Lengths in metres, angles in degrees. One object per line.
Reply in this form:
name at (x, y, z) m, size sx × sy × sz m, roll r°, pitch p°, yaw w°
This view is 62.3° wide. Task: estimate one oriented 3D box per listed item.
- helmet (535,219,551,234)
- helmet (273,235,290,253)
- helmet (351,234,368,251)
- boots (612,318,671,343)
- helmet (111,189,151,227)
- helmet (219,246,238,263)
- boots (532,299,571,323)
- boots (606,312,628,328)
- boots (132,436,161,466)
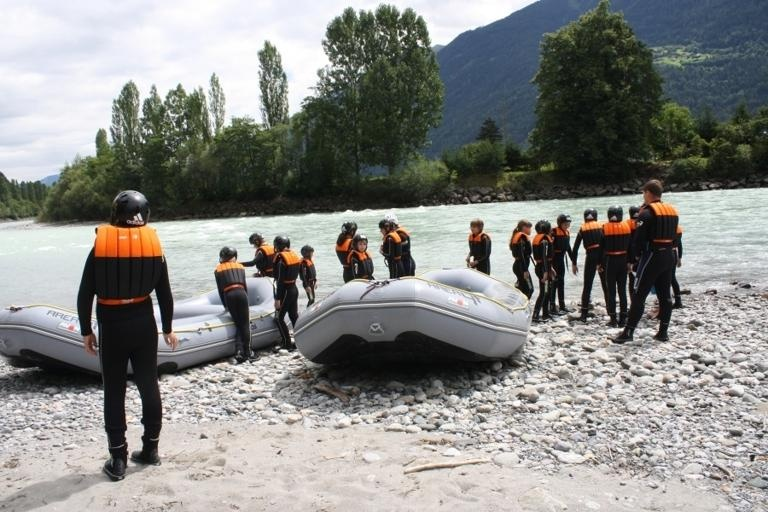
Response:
helmet at (3.181, -0.593, 12.808) m, size 0.277 × 0.159 × 0.352 m, roll 1°, pitch 12°, yaw 14°
helmet at (-1.938, -0.215, 12.053) m, size 0.260 × 0.291 × 0.319 m, roll -7°, pitch 14°, yaw -14°
helmet at (-0.486, -0.267, 12.487) m, size 0.275 × 0.306 × 0.325 m, roll 1°, pitch 10°, yaw -2°
boots at (4.307, 1.297, 11.058) m, size 1.089 × 0.428 × 0.354 m, roll -1°, pitch 3°, yaw -2°
helmet at (-3.066, -0.603, 7.735) m, size 0.406 × 0.450 × 0.505 m, roll 7°, pitch 30°, yaw -26°
helmet at (-2.879, -0.038, 11.781) m, size 0.282 × 0.262 × 0.368 m, roll -7°, pitch 14°, yaw -17°
boots at (3.433, 1.158, 13.233) m, size 0.631 × 0.400 × 0.222 m, roll -13°, pitch 26°, yaw -18°
boots at (4.468, 1.227, 12.324) m, size 0.260 × 0.281 × 0.308 m, roll -3°, pitch 16°, yaw -1°
boots at (-2.945, 2.401, 8.004) m, size 0.497 × 0.352 × 0.232 m, roll 16°, pitch 11°, yaw 42°
